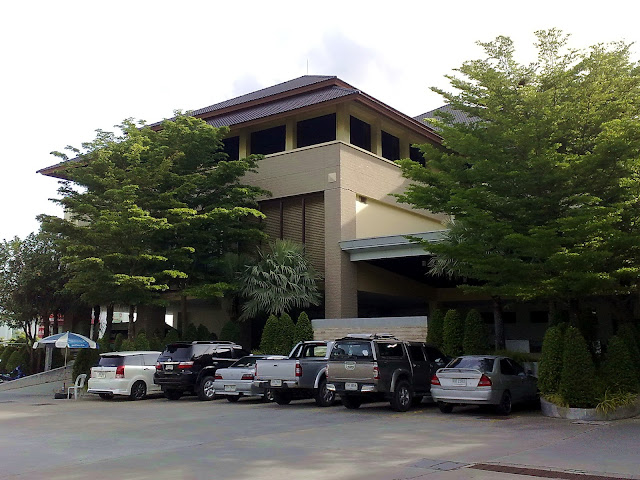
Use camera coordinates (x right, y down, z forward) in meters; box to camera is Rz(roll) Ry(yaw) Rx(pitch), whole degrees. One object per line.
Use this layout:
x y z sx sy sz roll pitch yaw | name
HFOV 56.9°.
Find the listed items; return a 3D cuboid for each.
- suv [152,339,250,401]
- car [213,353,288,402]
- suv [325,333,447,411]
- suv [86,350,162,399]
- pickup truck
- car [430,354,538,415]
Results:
-4.338 4.888 23.434 1.902 1.277 3.860 -7 -7 39 | suv
-2.992 5.058 21.268 1.596 0.867 3.222 -2 -5 29 | car
2.140 4.116 18.467 3.219 2.225 1.358 8 -16 -27 | suv
-7.550 5.243 23.715 1.699 1.064 3.225 -4 -6 38 | suv
-1.006 4.755 20.769 2.301 1.426 3.729 -6 -16 9 | pickup truck
4.925 4.256 17.658 3.123 1.720 1.625 1 -14 -2 | car
